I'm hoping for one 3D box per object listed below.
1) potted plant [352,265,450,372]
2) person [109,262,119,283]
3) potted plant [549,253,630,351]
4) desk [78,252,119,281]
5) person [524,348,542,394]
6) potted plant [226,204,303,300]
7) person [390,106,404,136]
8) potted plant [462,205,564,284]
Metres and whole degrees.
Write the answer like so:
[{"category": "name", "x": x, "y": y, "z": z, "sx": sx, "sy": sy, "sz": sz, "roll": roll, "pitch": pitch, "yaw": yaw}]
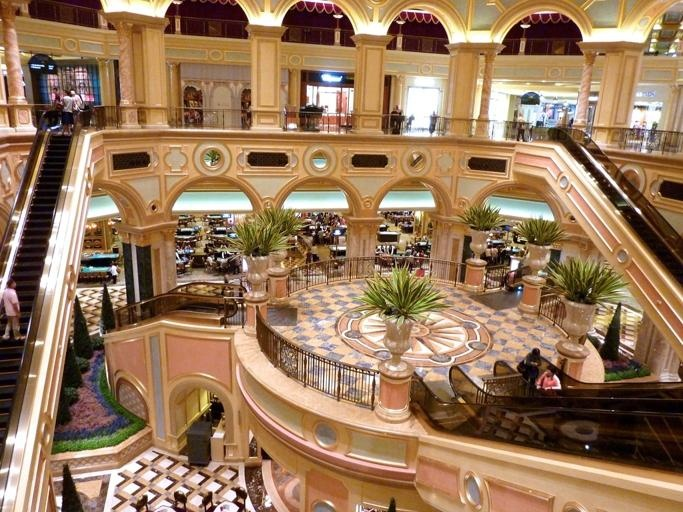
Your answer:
[{"category": "potted plant", "x": 0.902, "y": 0.960, "z": 7.676, "sx": 1.573, "sy": 1.633, "sz": 1.606, "roll": -3, "pitch": 23, "yaw": -10}, {"category": "person", "x": -9.329, "y": 0.709, "z": 18.278, "sx": 0.310, "sy": 0.821, "sz": 0.910, "roll": -7, "pitch": 14, "yaw": -29}, {"category": "potted plant", "x": 4.612, "y": 1.105, "z": 8.474, "sx": 1.251, "sy": 1.657, "sz": 1.369, "roll": 10, "pitch": 7, "yaw": 12}, {"category": "desk", "x": -10.084, "y": 0.511, "z": 18.588, "sx": 1.243, "sy": 0.560, "sz": 1.658, "roll": -2, "pitch": 20, "yaw": -15}, {"category": "person", "x": 3.415, "y": 1.977, "z": 7.914, "sx": 0.278, "sy": 0.515, "sz": 1.074, "roll": 6, "pitch": 14, "yaw": 25}, {"category": "potted plant", "x": -2.076, "y": -0.040, "z": 11.743, "sx": 1.865, "sy": 2.205, "sz": 1.743, "roll": -16, "pitch": 41, "yaw": -24}, {"category": "person", "x": 1.919, "y": -4.525, "z": 15.102, "sx": 0.495, "sy": 0.971, "sz": 1.467, "roll": 2, "pitch": 12, "yaw": 8}, {"category": "potted plant", "x": 4.257, "y": -0.114, "z": 11.873, "sx": 1.470, "sy": 2.275, "sz": 2.499, "roll": -5, "pitch": 13, "yaw": -20}]
